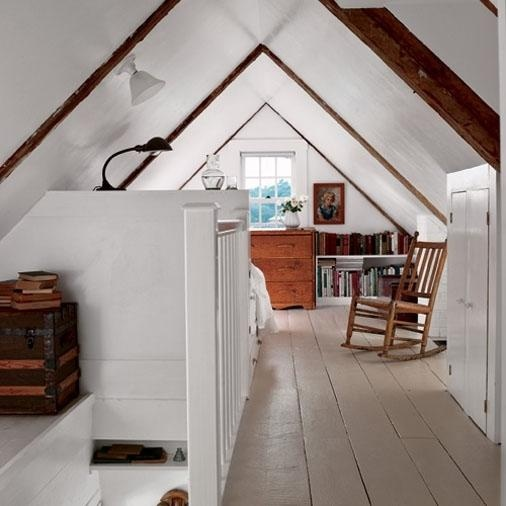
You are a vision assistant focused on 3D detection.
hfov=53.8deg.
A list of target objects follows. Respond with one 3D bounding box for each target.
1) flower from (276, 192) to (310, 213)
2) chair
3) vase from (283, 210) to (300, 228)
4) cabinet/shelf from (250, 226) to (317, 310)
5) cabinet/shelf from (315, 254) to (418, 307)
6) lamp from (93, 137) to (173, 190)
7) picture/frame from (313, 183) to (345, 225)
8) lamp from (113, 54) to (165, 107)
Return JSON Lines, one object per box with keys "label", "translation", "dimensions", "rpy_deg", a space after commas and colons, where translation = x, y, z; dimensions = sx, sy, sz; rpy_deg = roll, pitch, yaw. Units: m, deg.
{"label": "flower", "translation": [0.494, -0.599, 6.063], "dimensions": [0.222, 0.193, 0.241], "rpy_deg": [-3, 3, 17]}
{"label": "chair", "translation": [1.226, 0.350, 4.164], "dimensions": [0.701, 1.124, 0.567], "rpy_deg": [2, 4, -15]}
{"label": "vase", "translation": [0.468, -0.416, 6.055], "dimensions": [0.166, 0.190, 0.183], "rpy_deg": [-1, 6, -11]}
{"label": "cabinet/shelf", "translation": [0.330, 0.152, 5.533], "dimensions": [0.763, 0.900, 0.417], "rpy_deg": [-1, 0, -1]}
{"label": "cabinet/shelf", "translation": [1.220, 0.316, 6.072], "dimensions": [0.868, 0.580, 0.291], "rpy_deg": [4, 9, 17]}
{"label": "lamp", "translation": [-0.788, -0.565, 3.229], "dimensions": [0.438, 0.334, 0.915], "rpy_deg": [-2, 6, -17]}
{"label": "picture/frame", "translation": [0.948, -0.623, 6.297], "dimensions": [0.384, 0.597, 0.040], "rpy_deg": [0, -25, 10]}
{"label": "lamp", "translation": [-0.618, -0.949, 2.649], "dimensions": [0.124, 0.143, 0.131], "rpy_deg": [-38, 18, -12]}
